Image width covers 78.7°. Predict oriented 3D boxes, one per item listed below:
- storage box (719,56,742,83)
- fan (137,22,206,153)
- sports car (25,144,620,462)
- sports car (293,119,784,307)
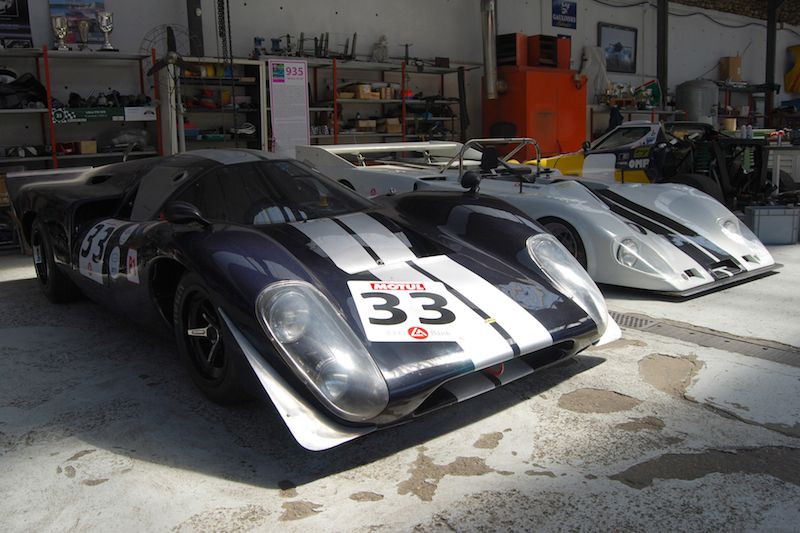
[{"bbox_3d":[9.163,-5.406,13.468,0.512,0.776,0.985,5,15,30],"label":"storage box"},{"bbox_3d":[-3.210,-2.554,6.815,0.702,1.927,1.601,-10,15,-24],"label":"fan"},{"bbox_3d":[-0.636,0.014,2.317,2.591,0.562,1.479,17,21,42],"label":"sports car"},{"bbox_3d":[0.869,-0.557,4.255,3.505,0.803,2.028,13,17,36],"label":"sports car"}]
